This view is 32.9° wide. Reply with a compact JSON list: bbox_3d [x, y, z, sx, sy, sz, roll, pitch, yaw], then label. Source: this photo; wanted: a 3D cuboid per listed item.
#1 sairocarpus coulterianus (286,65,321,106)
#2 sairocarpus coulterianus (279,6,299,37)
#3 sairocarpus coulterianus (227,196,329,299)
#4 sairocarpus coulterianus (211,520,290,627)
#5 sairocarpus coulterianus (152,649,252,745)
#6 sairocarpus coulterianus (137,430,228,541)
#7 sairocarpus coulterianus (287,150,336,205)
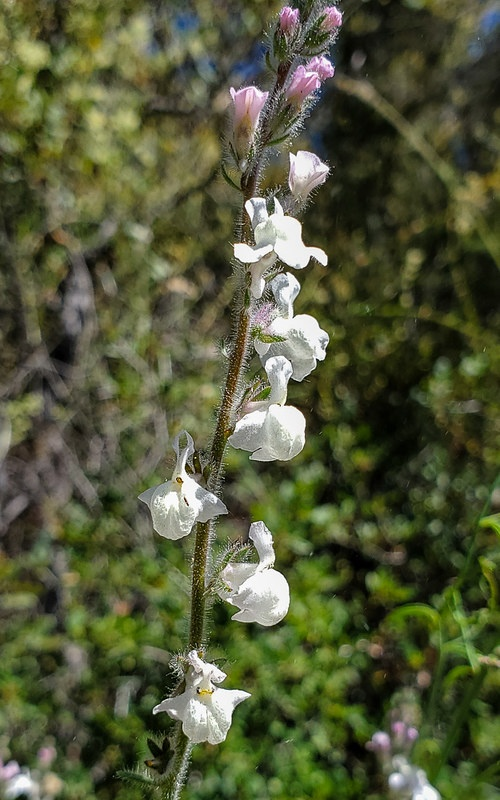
[{"bbox_3d":[0.131,-0.806,2.174,0.081,0.092,0.113,7,24,2],"label":"sairocarpus coulterianus"},{"bbox_3d":[0.100,-0.954,2.140,0.038,0.066,0.074,26,32,37],"label":"sairocarpus coulterianus"},{"bbox_3d":[0.066,-0.380,2.142,0.194,0.237,0.255,14,26,17],"label":"sairocarpus coulterianus"},{"bbox_3d":[0.000,0.529,2.290,0.185,0.400,0.266,3,25,-6],"label":"sairocarpus coulterianus"},{"bbox_3d":[-0.127,0.755,2.169,0.224,0.098,0.265,7,8,39],"label":"sairocarpus coulterianus"},{"bbox_3d":[-0.190,0.208,2.164,0.167,0.248,0.272,-6,27,-24],"label":"sairocarpus coulterianus"},{"bbox_3d":[0.150,-0.607,2.285,0.099,0.123,0.183,6,24,1],"label":"sairocarpus coulterianus"}]
